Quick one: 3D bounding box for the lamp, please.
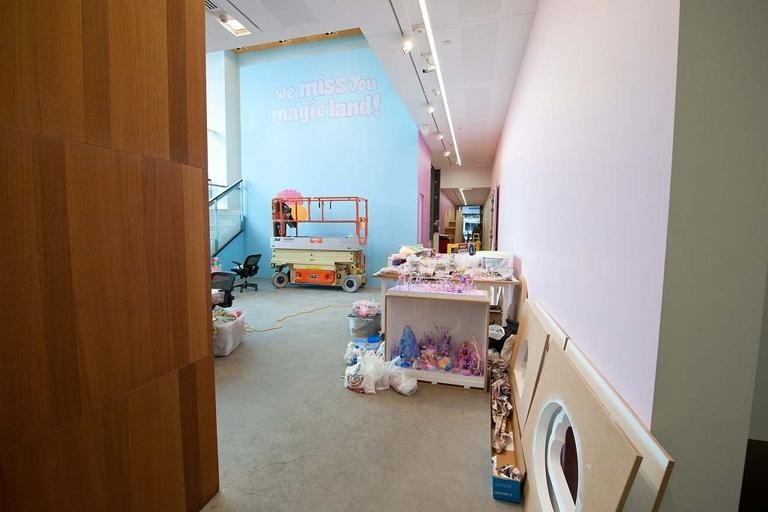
[{"bbox_3d":[0.451,-1.839,5.827,0.203,1.897,0.229,1,48,24],"label":"lamp"}]

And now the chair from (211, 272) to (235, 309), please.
[{"bbox_3d":[-1.749,0.399,5.450,0.215,0.446,0.620,-2,6,-18],"label":"chair"}]

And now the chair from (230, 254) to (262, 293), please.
[{"bbox_3d":[-2.412,0.283,8.697,0.438,0.647,0.460,2,-1,-4],"label":"chair"}]

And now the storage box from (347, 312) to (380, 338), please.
[{"bbox_3d":[-0.220,0.730,5.270,0.276,0.206,0.239,-1,1,10],"label":"storage box"}]
